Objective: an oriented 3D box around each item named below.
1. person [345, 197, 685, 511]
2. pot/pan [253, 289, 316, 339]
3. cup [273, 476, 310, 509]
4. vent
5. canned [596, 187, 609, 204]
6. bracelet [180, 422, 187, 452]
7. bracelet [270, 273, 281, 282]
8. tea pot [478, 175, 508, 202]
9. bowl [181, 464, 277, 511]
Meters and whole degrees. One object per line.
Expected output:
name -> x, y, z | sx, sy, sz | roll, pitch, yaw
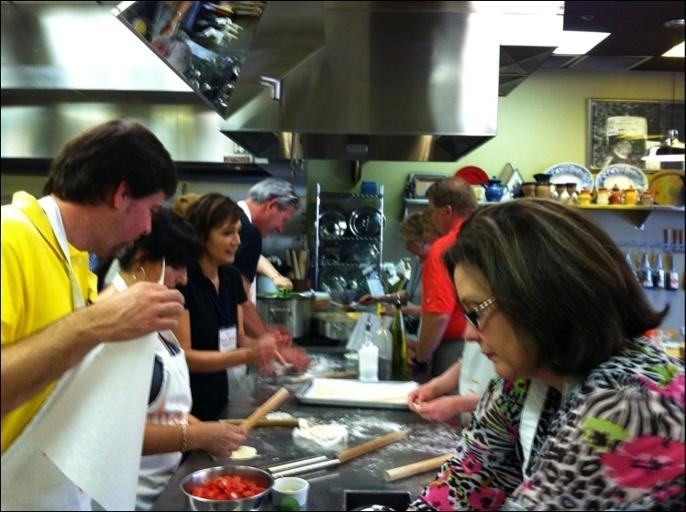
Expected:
person -> 0.451, 0.273, 1.245 | 0.386, 0.805, 0.581 | -2, 3, -38
pot/pan -> -0.383, 0.369, 3.667 | 0.332, 0.214, 0.316 | 0, 0, -4
cup -> -0.143, 0.654, 1.480 | 0.102, 0.061, 0.135 | 0, 1, -4
vent -> 0.100, -0.821, 2.661 | 0.863, 0.447, 0.892 | -1, -6, -1
canned -> 2.243, -0.514, 4.701 | 0.141, 0.150, 0.088 | 1, -1, 31
bracelet -> -0.519, 0.595, 1.769 | 0.029, 0.083, 0.072 | 3, 3, -17
bracelet -> -0.521, 0.165, 4.174 | 0.058, 0.016, 0.055 | 2, 46, 2
tea pot -> 1.266, -0.575, 4.650 | 0.256, 0.254, 0.187 | -1, 2, 3
bowl -> -0.316, 0.640, 1.456 | 0.228, 0.082, 0.195 | 0, 1, 19
